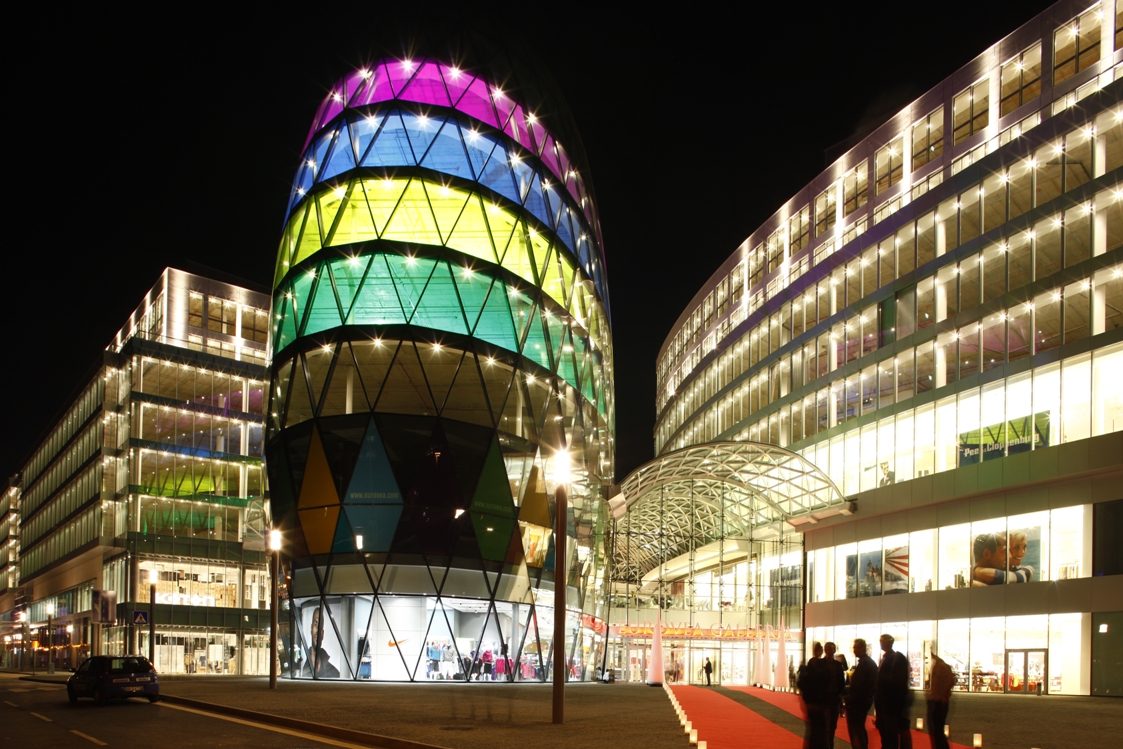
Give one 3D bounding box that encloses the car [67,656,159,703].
[{"bbox_3d":[-20.073,13.504,54.379,3.786,2.092,1.846,-8,-21,18],"label":"car"}]
